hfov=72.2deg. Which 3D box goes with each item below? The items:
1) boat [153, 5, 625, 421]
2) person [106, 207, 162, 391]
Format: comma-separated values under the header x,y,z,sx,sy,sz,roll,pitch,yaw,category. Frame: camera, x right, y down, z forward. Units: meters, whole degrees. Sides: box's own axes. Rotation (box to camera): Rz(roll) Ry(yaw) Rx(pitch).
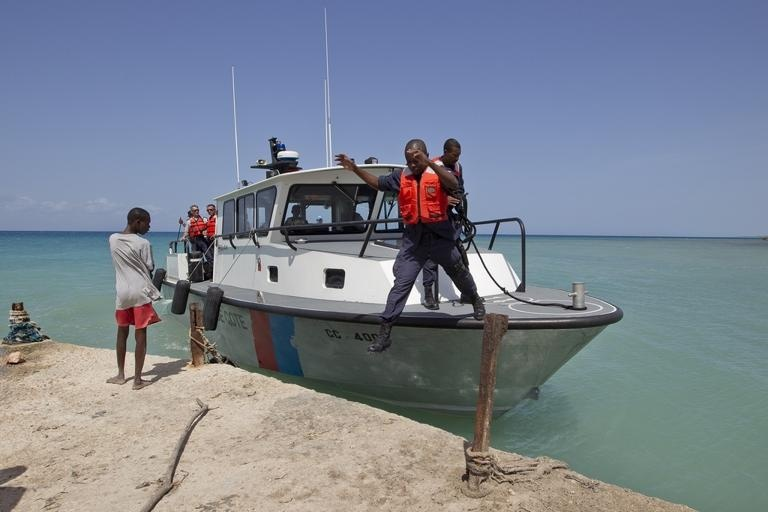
x,y,z,sx,sy,sz,roll,pitch,yaw,category
-0.422,0.201,11.601,4.054,6.528,11.812,-3,4,-42,boat
-3.352,0.586,6.992,0.677,2.440,1.067,-5,8,-27,person
